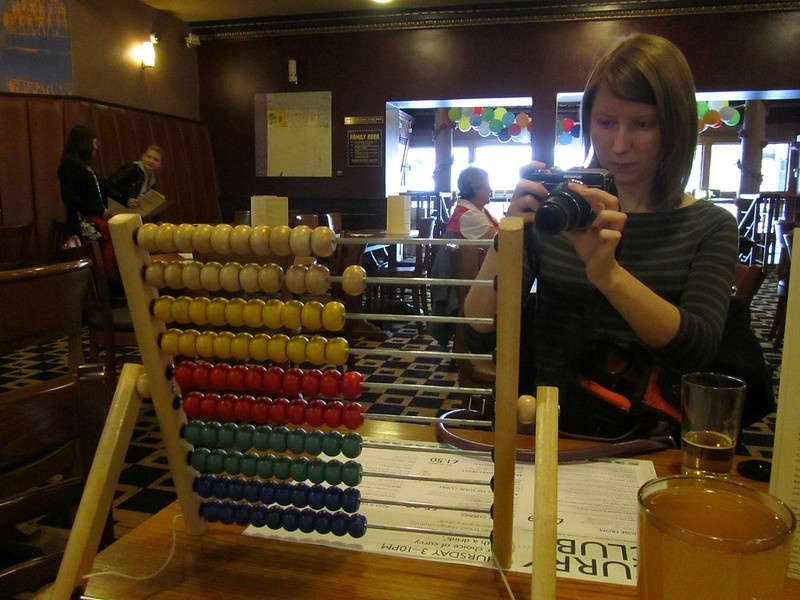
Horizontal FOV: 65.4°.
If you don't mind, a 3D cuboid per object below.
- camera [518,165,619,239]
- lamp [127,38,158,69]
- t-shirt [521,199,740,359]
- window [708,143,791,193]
[{"bbox_3d":[0.301,-0.197,1.208,0.152,0.084,0.198,5,14,29],"label":"camera"},{"bbox_3d":[-2.757,-2.704,6.861,0.198,0.316,0.312,8,19,24],"label":"lamp"},{"bbox_3d":[0.629,-0.072,1.570,0.425,0.431,0.160,2,3,21],"label":"t-shirt"},{"bbox_3d":[7.170,-2.771,12.914,1.846,1.311,0.096,0,13,3],"label":"window"}]
